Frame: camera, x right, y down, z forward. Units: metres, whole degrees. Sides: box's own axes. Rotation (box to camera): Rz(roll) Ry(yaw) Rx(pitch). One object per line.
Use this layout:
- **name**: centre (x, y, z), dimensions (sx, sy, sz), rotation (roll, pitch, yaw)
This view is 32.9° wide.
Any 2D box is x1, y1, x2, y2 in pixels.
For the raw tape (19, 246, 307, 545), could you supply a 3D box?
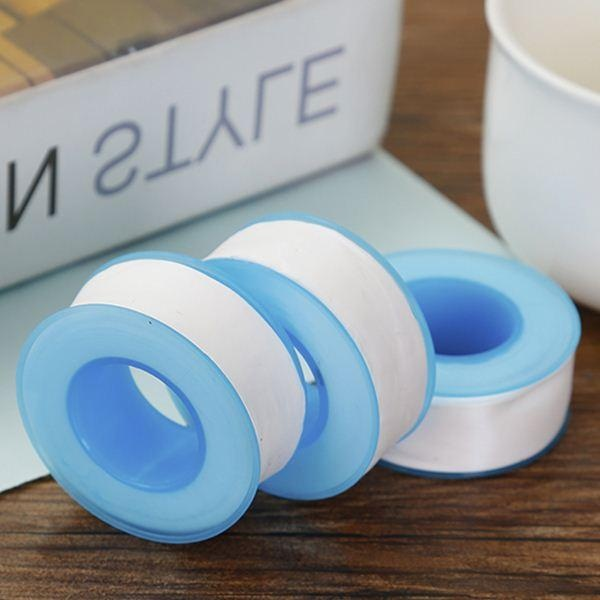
- **raw tape**: centre (-0.198, 0.160, 1.118), dimensions (0.293, 0.111, 0.305), rotation (26, 35, -25)

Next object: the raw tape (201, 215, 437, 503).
- **raw tape**: centre (0.044, 0.055, 1.106), dimensions (0.277, 0.294, 0.104), rotation (-3, 19, 32)

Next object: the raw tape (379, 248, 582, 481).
- **raw tape**: centre (0.226, 0.090, 1.250), dimensions (0.250, 0.105, 0.261), rotation (8, 38, 4)
